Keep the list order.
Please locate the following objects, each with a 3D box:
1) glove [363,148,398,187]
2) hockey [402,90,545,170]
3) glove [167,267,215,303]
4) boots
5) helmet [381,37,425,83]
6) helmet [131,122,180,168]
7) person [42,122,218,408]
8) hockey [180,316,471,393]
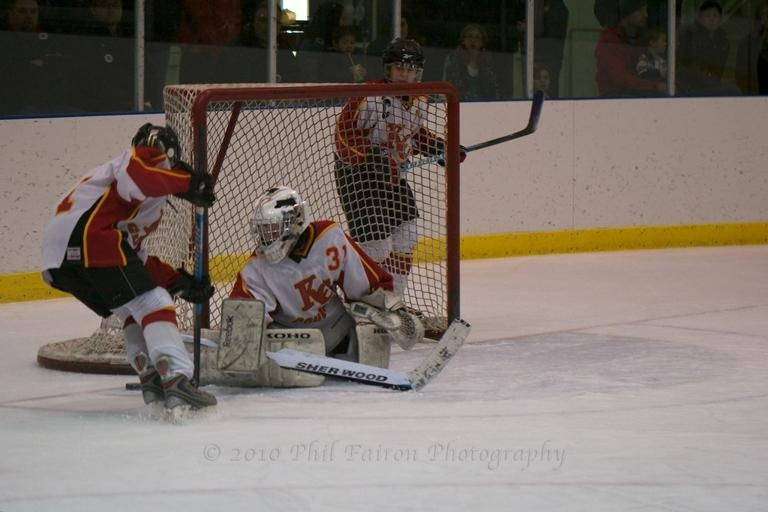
[{"bbox_3d":[-0.022,-0.520,6.038,0.253,0.207,0.062,13,19,7],"label":"glove"},{"bbox_3d":[0.696,-0.879,7.165,0.085,0.480,1.618,7,4,-18],"label":"hockey"},{"bbox_3d":[-0.880,0.142,4.855,0.295,0.092,0.126,4,-18,-28],"label":"glove"},{"bbox_3d":[-0.954,0.542,4.601,0.387,0.226,0.166,6,14,29],"label":"boots"},{"bbox_3d":[0.105,-1.141,6.132,0.282,0.280,0.303,6,26,-10],"label":"helmet"},{"bbox_3d":[-1.037,-0.472,4.748,0.227,0.224,0.264,0,-16,0],"label":"helmet"},{"bbox_3d":[-1.135,0.036,4.617,0.774,1.211,0.550,-2,13,-9],"label":"person"},{"bbox_3d":[-0.163,0.535,5.136,1.054,0.162,0.116,6,-12,31],"label":"hockey"}]
